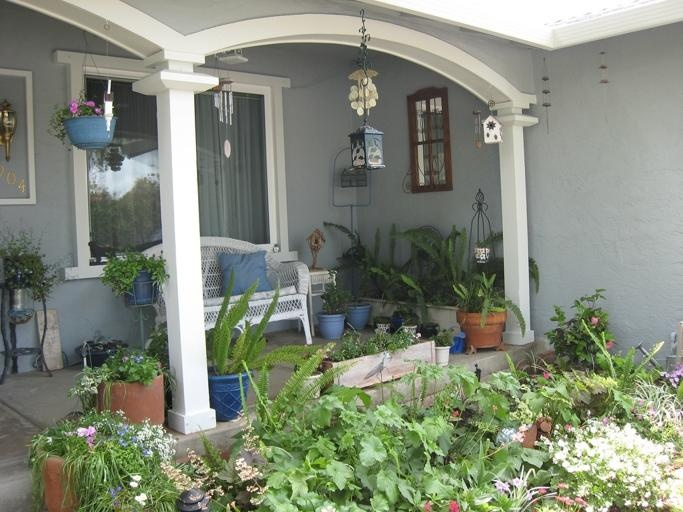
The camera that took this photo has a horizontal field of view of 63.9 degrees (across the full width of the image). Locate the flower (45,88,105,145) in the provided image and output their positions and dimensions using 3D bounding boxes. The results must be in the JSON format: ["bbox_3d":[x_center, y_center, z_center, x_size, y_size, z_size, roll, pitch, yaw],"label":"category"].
[{"bbox_3d":[-1.996,-1.013,4.234,0.402,0.253,0.462,-23,-11,-8],"label":"flower"}]

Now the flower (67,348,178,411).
[{"bbox_3d":[-1.601,0.827,4.039,0.522,0.520,0.565,0,-7,-8],"label":"flower"}]

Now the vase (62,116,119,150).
[{"bbox_3d":[-1.895,-0.918,4.151,0.387,0.217,0.388,-10,7,-37],"label":"vase"}]

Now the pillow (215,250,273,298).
[{"bbox_3d":[-1.106,0.209,6.062,0.419,0.412,0.204,-1,-15,-17],"label":"pillow"}]

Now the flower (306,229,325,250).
[{"bbox_3d":[-0.335,-0.198,7.189,0.083,0.278,0.233,3,5,-38],"label":"flower"}]

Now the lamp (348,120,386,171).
[{"bbox_3d":[0.200,-0.863,4.343,0.246,0.345,0.248,-4,4,-1],"label":"lamp"}]

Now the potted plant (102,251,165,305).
[{"bbox_3d":[-1.519,0.160,4.113,0.397,0.347,0.429,-1,-1,15],"label":"potted plant"}]

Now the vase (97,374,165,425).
[{"bbox_3d":[-1.452,0.951,3.792,0.337,0.294,0.363,2,-2,-9],"label":"vase"}]
